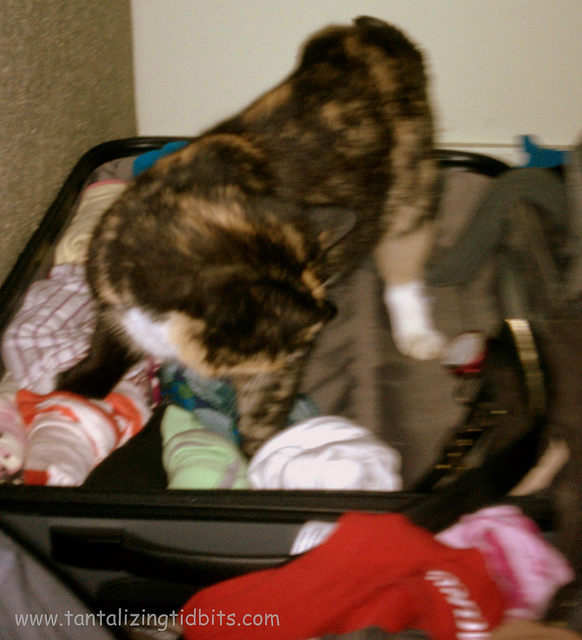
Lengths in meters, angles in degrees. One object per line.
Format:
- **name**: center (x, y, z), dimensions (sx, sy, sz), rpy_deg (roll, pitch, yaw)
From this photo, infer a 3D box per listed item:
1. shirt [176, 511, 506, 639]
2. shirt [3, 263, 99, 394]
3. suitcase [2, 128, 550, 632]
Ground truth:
- **shirt**: center (0.038, 0.263, 0.855), dimensions (0.237, 0.052, 0.147), rpy_deg (-18, 20, -22)
- **shirt**: center (-0.276, 0.016, 1.114), dimensions (0.125, 0.045, 0.173), rpy_deg (7, 56, 21)
- **suitcase**: center (-0.059, 0.009, 1.054), dimensions (0.689, 0.289, 0.706), rpy_deg (7, 36, 4)
